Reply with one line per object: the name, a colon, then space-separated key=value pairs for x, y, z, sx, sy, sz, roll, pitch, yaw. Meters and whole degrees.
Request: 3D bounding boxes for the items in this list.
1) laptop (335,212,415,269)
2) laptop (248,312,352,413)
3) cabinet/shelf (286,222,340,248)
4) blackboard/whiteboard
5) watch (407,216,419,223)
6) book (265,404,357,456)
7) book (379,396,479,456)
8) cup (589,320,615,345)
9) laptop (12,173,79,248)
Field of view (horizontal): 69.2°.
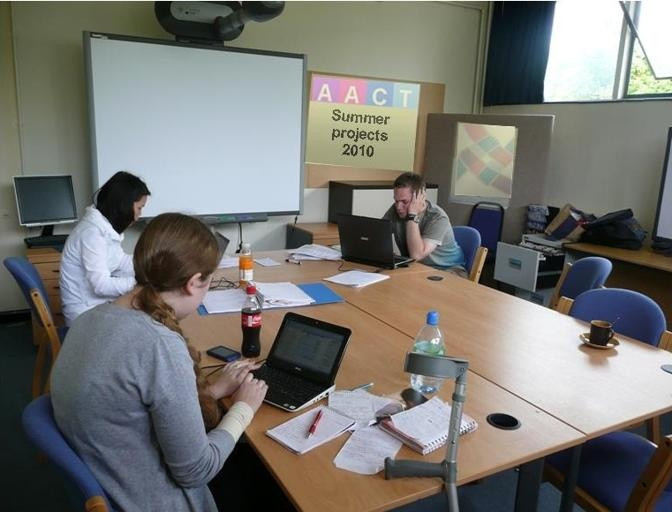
laptop: x=0.285 y=-0.125 z=3.350 sx=0.401 sy=0.327 sz=0.475 roll=-11 pitch=17 yaw=-41
laptop: x=-0.177 y=0.379 z=1.822 sx=0.400 sy=0.220 sz=0.435 roll=-4 pitch=11 yaw=-35
cabinet/shelf: x=-0.224 y=-0.213 z=4.913 sx=0.422 sy=0.404 sz=0.292 roll=-1 pitch=6 yaw=-13
blackboard/whiteboard: x=-0.888 y=-1.342 z=4.505 sx=2.733 sy=1.526 sz=0.051 roll=-3 pitch=10 yaw=-28
watch: x=0.564 y=-0.265 z=3.526 sx=0.050 sy=0.034 sz=0.057 roll=-2 pitch=9 yaw=-6
book: x=-0.077 y=0.572 z=1.609 sx=0.175 sy=0.026 sz=0.130 roll=-15 pitch=22 yaw=-42
book: x=0.313 y=0.564 z=1.657 sx=0.260 sy=0.047 sz=0.230 roll=-10 pitch=11 yaw=-32
cup: x=1.188 y=0.346 z=2.203 sx=0.109 sy=0.092 sz=0.088 roll=1 pitch=5 yaw=4
laptop: x=-2.381 y=-0.366 z=4.025 sx=0.430 sy=0.592 sz=0.307 roll=-9 pitch=16 yaw=-38
